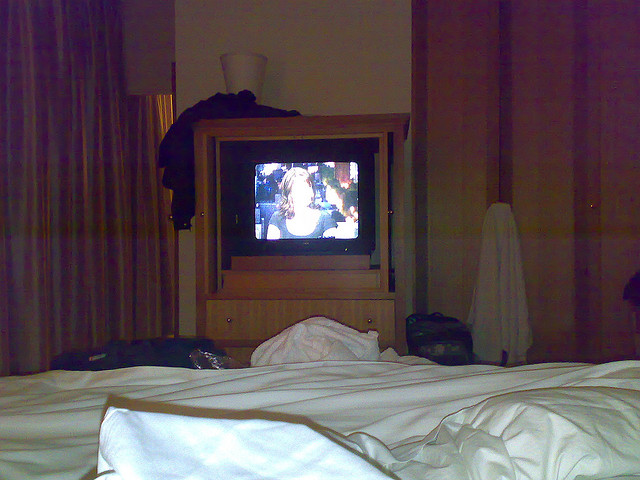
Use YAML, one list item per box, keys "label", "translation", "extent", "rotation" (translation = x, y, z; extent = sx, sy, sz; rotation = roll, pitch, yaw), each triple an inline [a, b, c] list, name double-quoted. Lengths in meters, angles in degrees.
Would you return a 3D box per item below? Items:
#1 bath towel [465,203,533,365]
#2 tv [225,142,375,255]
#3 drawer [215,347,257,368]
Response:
- label: "bath towel"
  translation: [1.068, 0.256, 3.664]
  extent: [0.375, 0.966, 0.200]
  rotation: [0, -1, 17]
- label: "tv"
  translation: [-0.010, -0.232, 3.771]
  extent: [1.070, 0.739, 0.556]
  rotation: [1, 4, 16]
- label: "drawer"
  translation: [-0.413, 0.569, 2.986]
  extent: [0.168, 0.153, 0.066]
  rotation: [-1, -5, 5]
